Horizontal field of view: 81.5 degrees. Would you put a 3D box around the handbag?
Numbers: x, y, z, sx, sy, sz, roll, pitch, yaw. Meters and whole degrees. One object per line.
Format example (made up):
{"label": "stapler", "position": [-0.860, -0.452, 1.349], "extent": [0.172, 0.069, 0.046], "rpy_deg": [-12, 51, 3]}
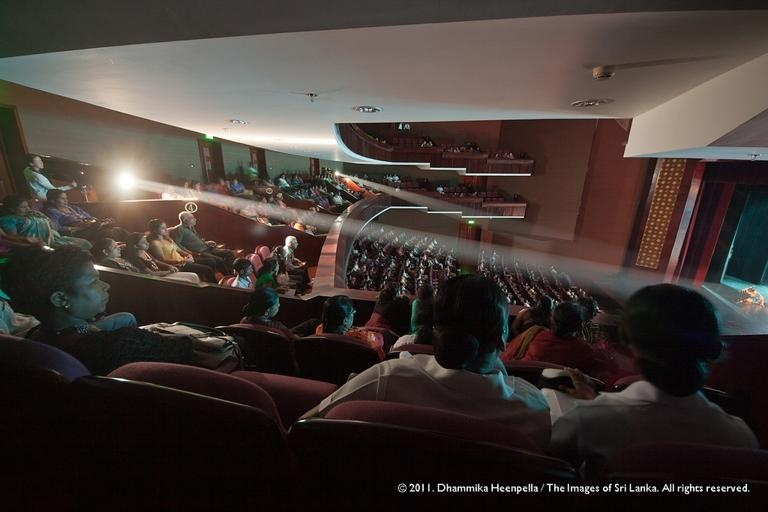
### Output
{"label": "handbag", "position": [-1.101, 0.515, 2.619], "extent": [0.452, 0.142, 0.330], "rpy_deg": [18, 5, 6]}
